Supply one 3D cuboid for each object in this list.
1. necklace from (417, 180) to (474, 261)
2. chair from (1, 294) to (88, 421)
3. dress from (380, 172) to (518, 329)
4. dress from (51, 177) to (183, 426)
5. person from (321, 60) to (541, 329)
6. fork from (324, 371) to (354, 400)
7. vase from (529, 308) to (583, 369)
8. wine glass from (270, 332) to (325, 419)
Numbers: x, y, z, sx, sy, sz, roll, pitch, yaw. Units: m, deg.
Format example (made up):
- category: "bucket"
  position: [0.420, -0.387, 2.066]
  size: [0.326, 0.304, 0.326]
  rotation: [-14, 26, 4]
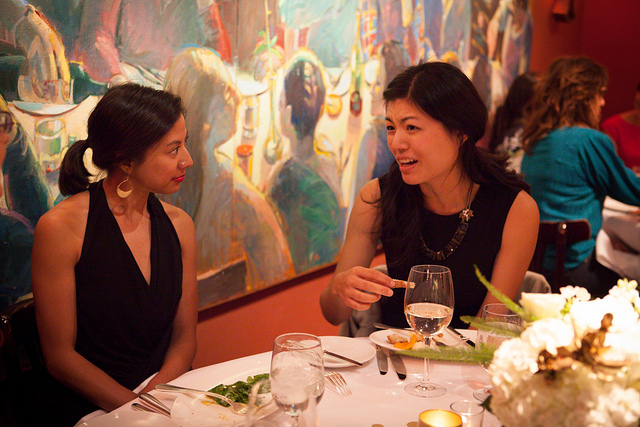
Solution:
- category: "necklace"
  position: [0.585, 0.038, 2.317]
  size: [0.223, 0.337, 0.079]
  rotation: [5, -5, 19]
- category: "chair"
  position: [-1.081, 0.593, 1.991]
  size: [0.329, 0.453, 0.153]
  rotation: [3, 12, 15]
- category: "dress"
  position: [0.569, 0.138, 2.125]
  size: [0.645, 0.702, 0.385]
  rotation: [1, -5, 11]
- category: "dress"
  position: [-0.798, 0.275, 2.155]
  size: [0.352, 0.828, 0.361]
  rotation: [1, 11, 9]
- category: "person"
  position: [0.520, 0.105, 2.445]
  size: [0.976, 1.513, 0.913]
  rotation: [6, 7, 19]
- category: "fork"
  position: [0.054, 0.539, 1.637]
  size: [0.031, 0.042, 0.230]
  rotation: [-20, 11, -10]
- category: "vase"
  position: [0.575, 0.313, 1.213]
  size: [0.105, 0.099, 0.052]
  rotation: [2, 50, -40]
- category: "wine glass"
  position: [-0.063, 0.472, 1.429]
  size: [0.147, 0.258, 0.230]
  rotation: [0, 11, 1]
